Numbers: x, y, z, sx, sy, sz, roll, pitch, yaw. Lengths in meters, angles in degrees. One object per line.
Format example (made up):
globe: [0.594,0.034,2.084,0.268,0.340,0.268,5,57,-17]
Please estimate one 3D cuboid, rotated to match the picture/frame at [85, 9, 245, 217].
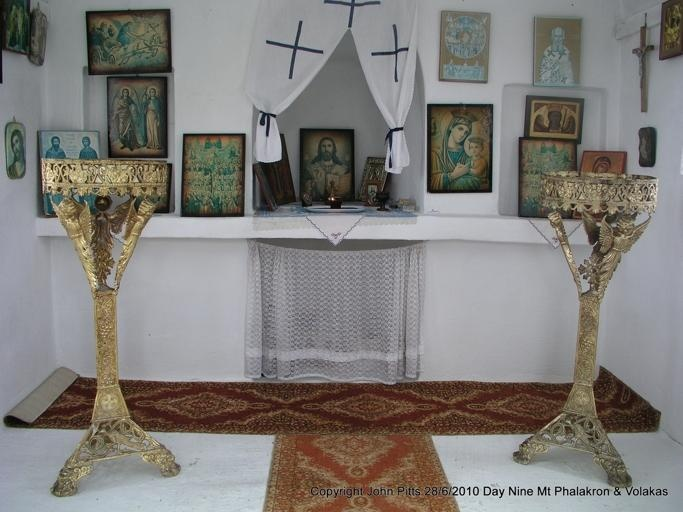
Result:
picture/frame: [-1.350,-1.167,4.978,1.504,2.139,0.090,1,8,-5]
